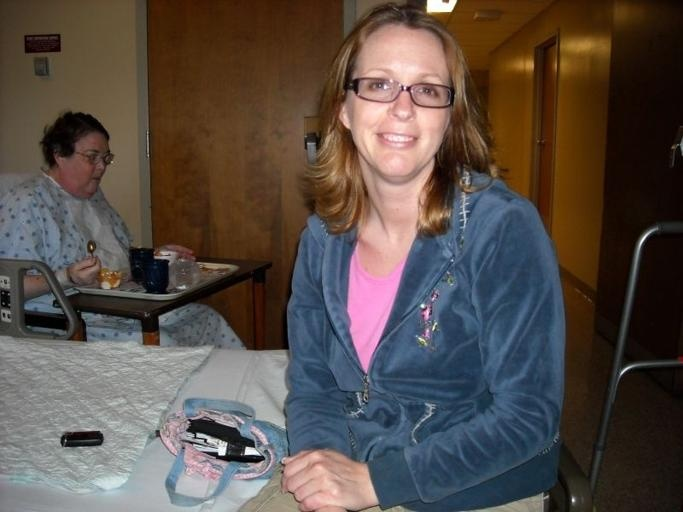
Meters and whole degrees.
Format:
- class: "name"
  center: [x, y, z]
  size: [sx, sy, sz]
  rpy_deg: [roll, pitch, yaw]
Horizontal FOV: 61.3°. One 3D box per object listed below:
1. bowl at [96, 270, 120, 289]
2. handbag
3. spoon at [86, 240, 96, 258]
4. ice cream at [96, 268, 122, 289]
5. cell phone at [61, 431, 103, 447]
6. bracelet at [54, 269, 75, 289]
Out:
- class: "bowl"
  center: [-0.991, 0.096, 2.465]
  size: [0.074, 0.057, 0.079]
  rpy_deg: [1, 0, 0]
- class: "handbag"
  center: [-0.280, 0.437, 1.354]
  size: [0.228, 0.084, 0.228]
  rpy_deg: [7, 56, -4]
- class: "spoon"
  center: [-1.157, -0.035, 2.668]
  size: [0.014, 0.088, 0.054]
  rpy_deg: [4, 33, -7]
- class: "ice cream"
  center: [-0.990, 0.094, 2.473]
  size: [0.076, 0.064, 0.084]
  rpy_deg: [1, 1, -1]
- class: "cell phone"
  center: [-0.627, 0.445, 1.405]
  size: [0.081, 0.022, 0.044]
  rpy_deg: [1, 16, -12]
- class: "bracelet"
  center: [-1.137, 0.092, 2.376]
  size: [0.060, 0.073, 0.066]
  rpy_deg: [-3, 8, 12]
